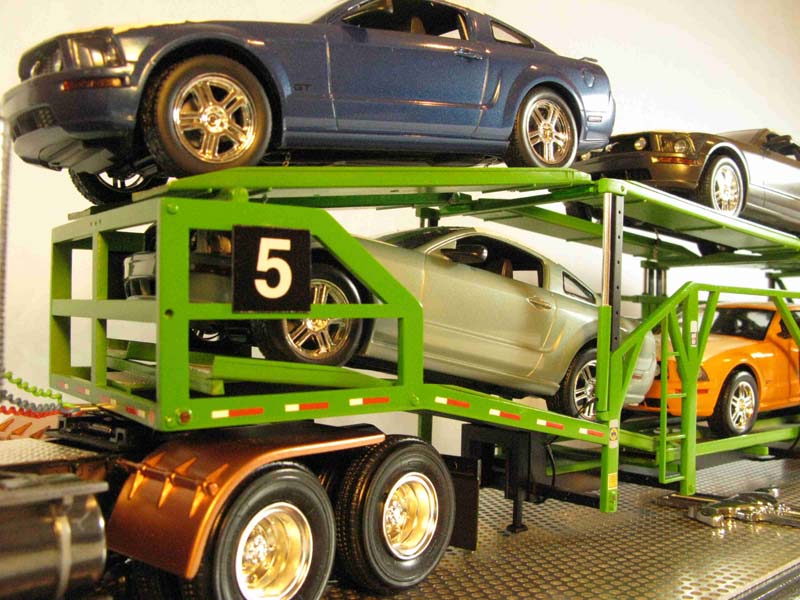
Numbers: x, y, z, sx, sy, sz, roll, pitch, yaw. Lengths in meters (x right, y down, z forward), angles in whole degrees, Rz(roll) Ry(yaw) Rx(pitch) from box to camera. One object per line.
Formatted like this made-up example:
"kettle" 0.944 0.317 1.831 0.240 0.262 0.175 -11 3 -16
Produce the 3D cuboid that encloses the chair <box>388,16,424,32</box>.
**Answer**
"chair" 0.055 -2.075 5.592 0.187 0.106 0.183 0 11 -27

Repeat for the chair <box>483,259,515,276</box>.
"chair" 0.806 -0.243 5.976 0.145 0.176 0.266 6 -3 28
